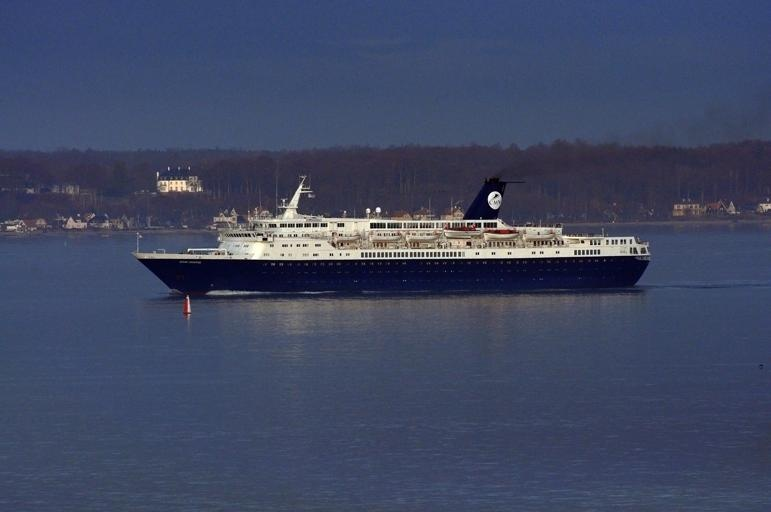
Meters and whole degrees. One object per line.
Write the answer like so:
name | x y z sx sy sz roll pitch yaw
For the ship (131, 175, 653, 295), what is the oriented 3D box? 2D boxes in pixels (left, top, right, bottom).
ship | 0.860 -1.323 158.875 47.519 10.330 10.261 -1 -1 -20
